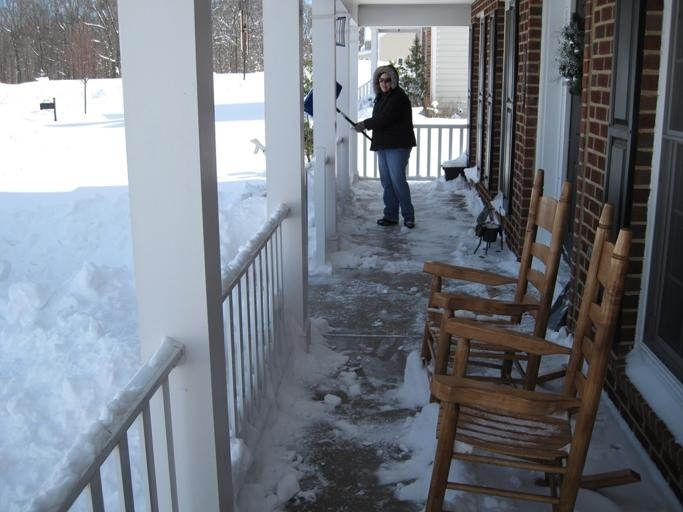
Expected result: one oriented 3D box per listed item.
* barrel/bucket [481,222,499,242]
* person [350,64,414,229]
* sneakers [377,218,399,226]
[{"bbox_3d":[1.694,-0.270,5.589,0.174,0.165,0.200,0,7,2],"label":"barrel/bucket"},{"bbox_3d":[0.645,-1.449,6.571,0.693,2.076,0.623,0,16,9],"label":"person"},{"bbox_3d":[0.633,-0.453,6.754,0.209,0.112,0.131,3,29,2],"label":"sneakers"}]
